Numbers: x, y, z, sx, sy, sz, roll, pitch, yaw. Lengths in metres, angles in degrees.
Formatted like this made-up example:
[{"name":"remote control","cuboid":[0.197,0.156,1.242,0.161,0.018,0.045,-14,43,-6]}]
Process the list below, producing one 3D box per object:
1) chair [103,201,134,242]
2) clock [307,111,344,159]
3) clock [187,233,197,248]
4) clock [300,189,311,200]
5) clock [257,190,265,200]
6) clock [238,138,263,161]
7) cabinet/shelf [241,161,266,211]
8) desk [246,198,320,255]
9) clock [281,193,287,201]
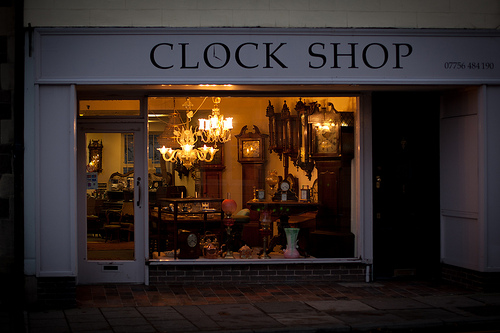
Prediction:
[{"name":"chair","cuboid":[-2.506,1.103,11.017,0.674,0.965,0.697,2,-6,-16]},{"name":"clock","cuboid":[1.546,-0.644,11.198,0.939,1.273,0.166,-1,-5,14]},{"name":"clock","cuboid":[-1.149,1.463,10.814,0.253,0.279,0.046,12,-18,-35]},{"name":"clock","cuboid":[1.110,0.566,11.177,0.239,0.248,0.180,1,5,3]},{"name":"clock","cuboid":[0.211,0.578,11.167,0.173,0.245,0.179,1,-4,7]},{"name":"clock","cuboid":[-0.029,-0.335,11.142,0.450,0.410,0.173,0,-8,-6]},{"name":"cabinet/shelf","cuboid":[0.080,0.410,11.144,0.316,0.936,0.402,0,2,-33]},{"name":"desk","cuboid":[0.640,1.359,11.543,1.537,1.129,1.020,0,-7,-1]},{"name":"clock","cuboid":[0.677,0.621,11.192,0.128,0.233,0.135,0,-1,-1]}]
